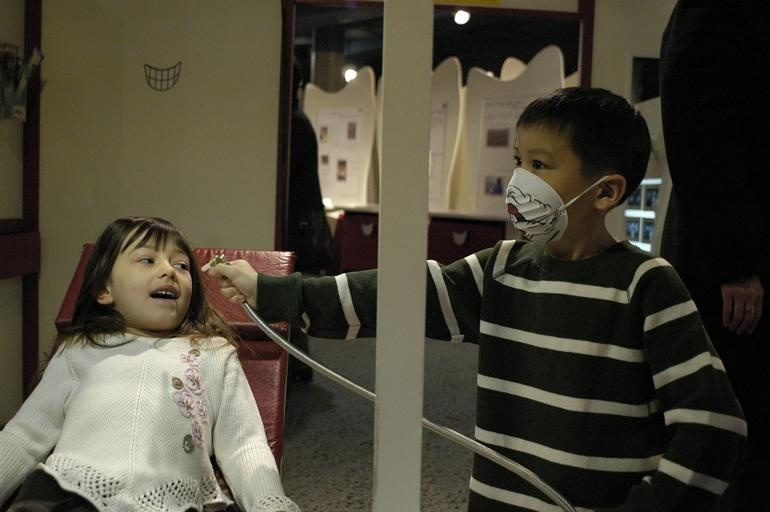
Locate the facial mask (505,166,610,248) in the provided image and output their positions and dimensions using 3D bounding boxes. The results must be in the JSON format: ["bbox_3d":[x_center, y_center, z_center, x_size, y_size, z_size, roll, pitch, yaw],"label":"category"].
[{"bbox_3d":[0.376,-0.122,1.467,0.171,0.131,0.158,-21,13,-7],"label":"facial mask"}]

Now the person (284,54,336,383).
[{"bbox_3d":[-0.304,-0.194,2.772,0.206,1.148,0.277,-13,18,-22],"label":"person"}]

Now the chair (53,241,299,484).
[{"bbox_3d":[-0.547,0.286,2.186,0.654,0.969,0.733,1,-4,-6],"label":"chair"}]
